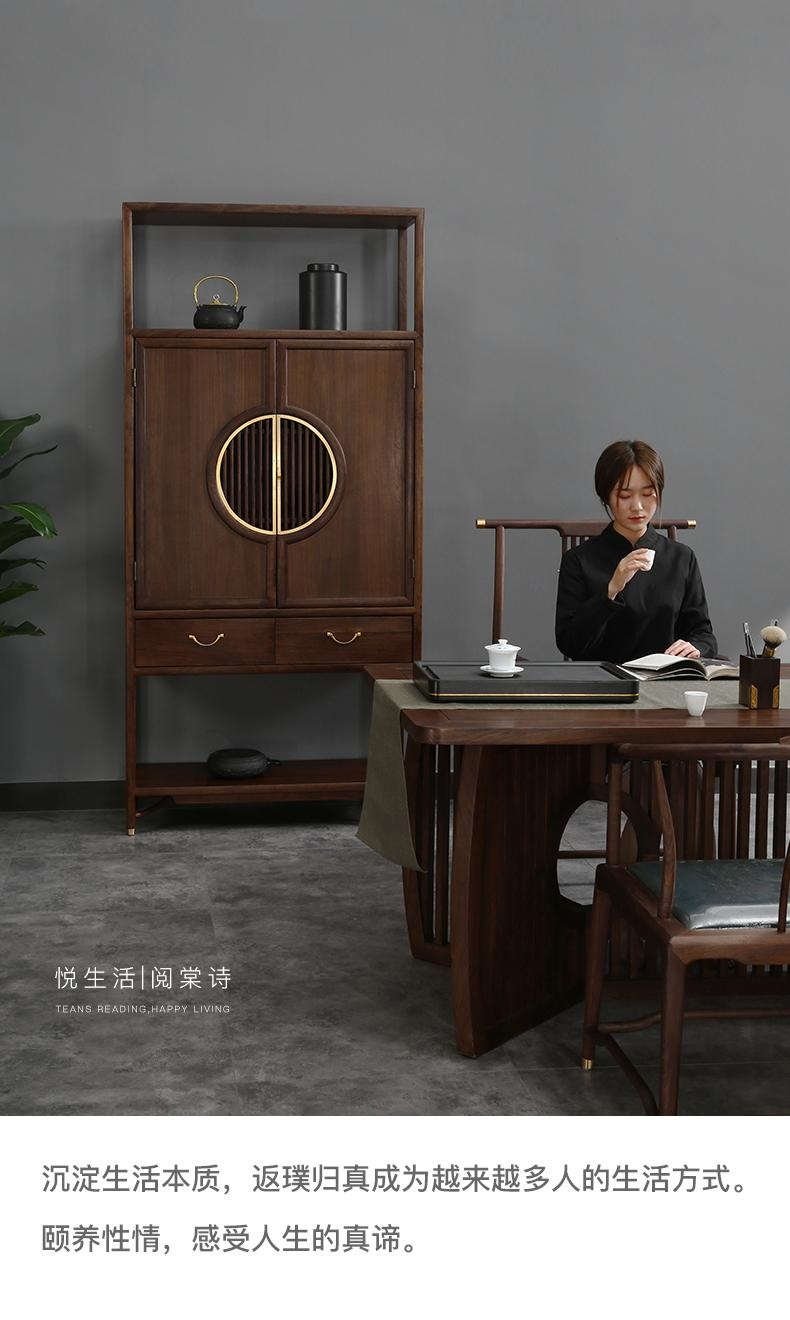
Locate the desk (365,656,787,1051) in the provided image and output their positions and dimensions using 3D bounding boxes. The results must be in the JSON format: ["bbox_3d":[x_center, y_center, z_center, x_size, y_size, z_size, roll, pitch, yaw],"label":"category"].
[{"bbox_3d":[0.230,0.319,1.973,0.753,0.514,0.736,0,5,-11],"label":"desk"}]

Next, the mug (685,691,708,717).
[{"bbox_3d":[0.503,0.074,1.749,0.042,0.045,0.044,-2,1,-40],"label":"mug"}]

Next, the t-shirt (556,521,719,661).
[{"bbox_3d":[0.667,-0.092,2.827,0.431,0.525,0.304,-1,10,0],"label":"t-shirt"}]

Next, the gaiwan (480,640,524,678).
[{"bbox_3d":[0.202,-0.003,1.941,0.067,0.057,0.070,0,1,2],"label":"gaiwan"}]
